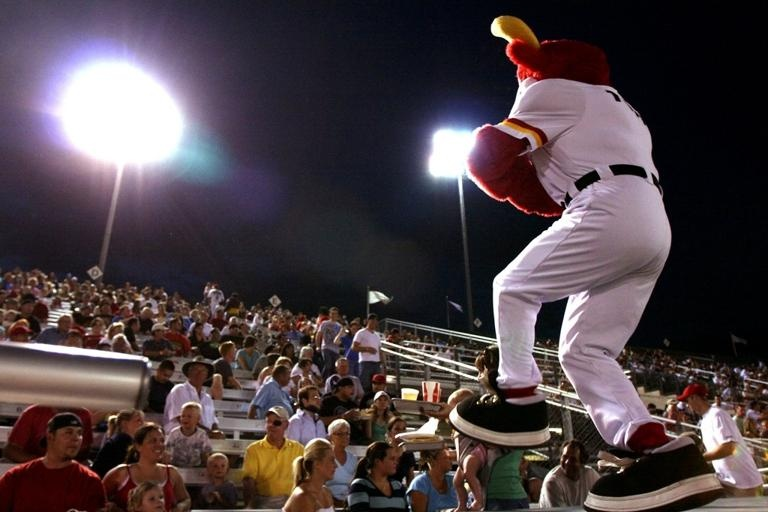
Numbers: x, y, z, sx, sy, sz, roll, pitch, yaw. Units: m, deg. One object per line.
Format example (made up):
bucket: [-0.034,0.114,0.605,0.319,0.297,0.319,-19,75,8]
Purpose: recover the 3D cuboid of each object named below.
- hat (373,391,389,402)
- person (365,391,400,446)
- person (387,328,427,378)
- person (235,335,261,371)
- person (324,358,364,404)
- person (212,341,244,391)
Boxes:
hat: [-0.069,2.337,9.716,0.312,0.151,0.427,1,-12,-3]
person: [-0.047,2.620,9.346,0.717,0.979,0.782,-1,-13,4]
person: [0.616,2.755,16.499,0.900,1.343,0.727,3,-17,-18]
person: [-3.070,2.269,13.326,0.604,0.712,0.590,-1,3,-10]
person: [-0.839,2.593,11.722,0.782,0.995,0.557,6,-14,-26]
person: [-3.125,2.231,11.731,0.678,0.986,0.664,-6,-13,30]
